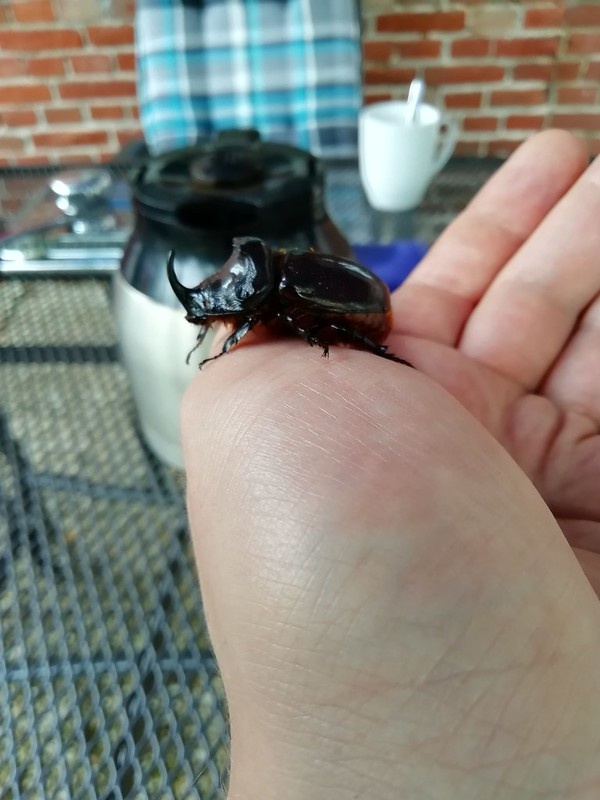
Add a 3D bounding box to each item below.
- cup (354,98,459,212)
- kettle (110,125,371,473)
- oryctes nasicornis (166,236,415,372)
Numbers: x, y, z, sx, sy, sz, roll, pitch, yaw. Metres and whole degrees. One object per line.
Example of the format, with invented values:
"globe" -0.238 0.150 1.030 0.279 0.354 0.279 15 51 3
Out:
"cup" 0.165 -0.341 1.018 0.165 0.126 0.098 5 28 26
"kettle" -0.076 -0.102 0.662 0.246 0.268 0.270 4 41 3
"oryctes nasicornis" -0.008 -0.080 0.588 0.196 0.078 0.115 4 14 -16
